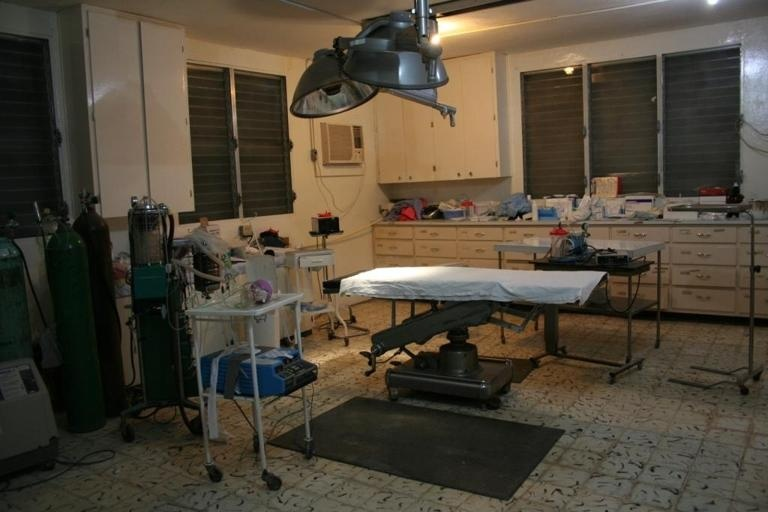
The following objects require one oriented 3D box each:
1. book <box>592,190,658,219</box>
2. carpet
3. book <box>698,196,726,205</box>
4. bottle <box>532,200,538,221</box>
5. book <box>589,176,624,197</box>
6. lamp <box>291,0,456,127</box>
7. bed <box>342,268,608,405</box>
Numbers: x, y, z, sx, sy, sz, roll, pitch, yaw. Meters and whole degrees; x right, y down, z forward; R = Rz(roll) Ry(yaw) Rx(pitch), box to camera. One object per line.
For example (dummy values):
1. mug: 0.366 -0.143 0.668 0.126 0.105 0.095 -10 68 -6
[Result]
1. book: 3.248 -0.672 7.791 0.860 0.311 0.465 0 9 26
2. carpet: 0.385 1.567 4.886 1.950 0.265 1.029 0 8 25
3. book: 4.105 -0.703 7.228 0.288 0.083 0.229 1 9 29
4. bottle: 2.161 -0.649 8.274 0.086 0.247 0.274 -4 8 15
5. book: 3.163 -0.975 8.160 0.230 0.283 0.408 1 -2 -44
6. lamp: -0.089 -1.386 4.221 0.912 0.613 1.323 0 3 -40
7. bed: 0.819 0.824 5.825 2.652 1.060 1.491 -1 -7 27
